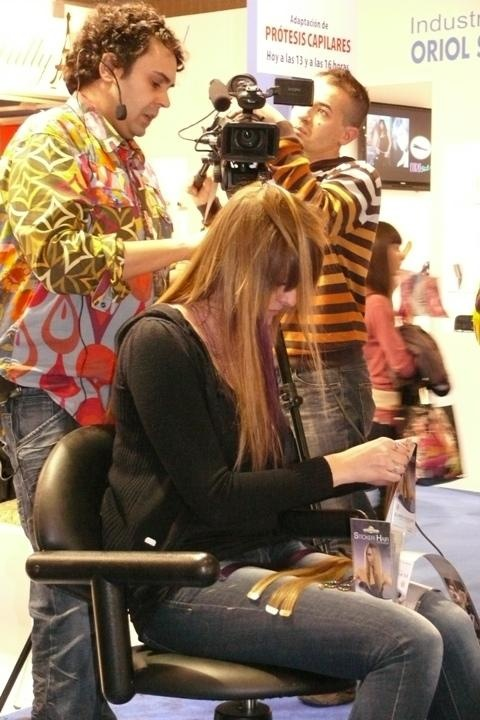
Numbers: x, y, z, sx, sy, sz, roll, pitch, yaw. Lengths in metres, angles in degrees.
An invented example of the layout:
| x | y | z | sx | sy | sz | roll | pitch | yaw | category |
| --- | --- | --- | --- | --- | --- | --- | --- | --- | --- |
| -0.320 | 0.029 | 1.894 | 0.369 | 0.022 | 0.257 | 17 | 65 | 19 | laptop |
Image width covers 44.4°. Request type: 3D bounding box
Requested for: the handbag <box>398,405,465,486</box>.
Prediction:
| x | y | z | sx | sy | sz | roll | pitch | yaw | category |
| --- | --- | --- | --- | --- | --- | --- | --- | --- | --- |
| 1.457 | 0.777 | 4.638 | 0.429 | 0.566 | 0.787 | 8 | 46 | 6 | handbag |

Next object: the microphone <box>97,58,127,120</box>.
| x | y | z | sx | sy | sz | roll | pitch | yaw | category |
| --- | --- | --- | --- | --- | --- | --- | --- | --- | --- |
| -0.281 | -0.603 | 1.293 | 0.063 | 0.188 | 0.037 | 4 | -35 | -26 | microphone |
